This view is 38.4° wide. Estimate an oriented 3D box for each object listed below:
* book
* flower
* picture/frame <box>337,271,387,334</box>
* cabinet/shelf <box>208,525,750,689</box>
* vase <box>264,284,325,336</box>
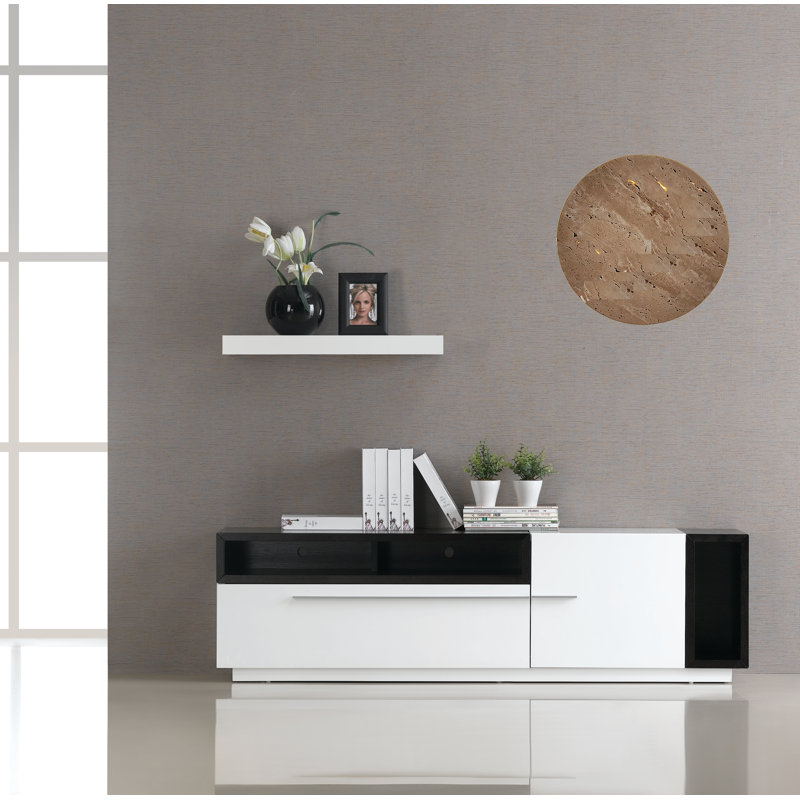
[{"bbox_3d":[0.071,0.344,4.349,1.020,0.306,0.228,0,-4,-4],"label":"book"},{"bbox_3d":[-0.367,-0.601,4.465,0.345,0.200,0.342,-30,54,-32],"label":"flower"},{"bbox_3d":[-0.143,-0.363,4.392,0.206,0.289,0.029,0,-2,-3],"label":"picture/frame"},{"bbox_3d":[0.297,0.734,4.194,1.915,0.490,0.387,1,-4,-10],"label":"cabinet/shelf"},{"bbox_3d":[-0.392,-0.341,4.416,0.171,0.153,0.196,0,2,1],"label":"vase"}]
